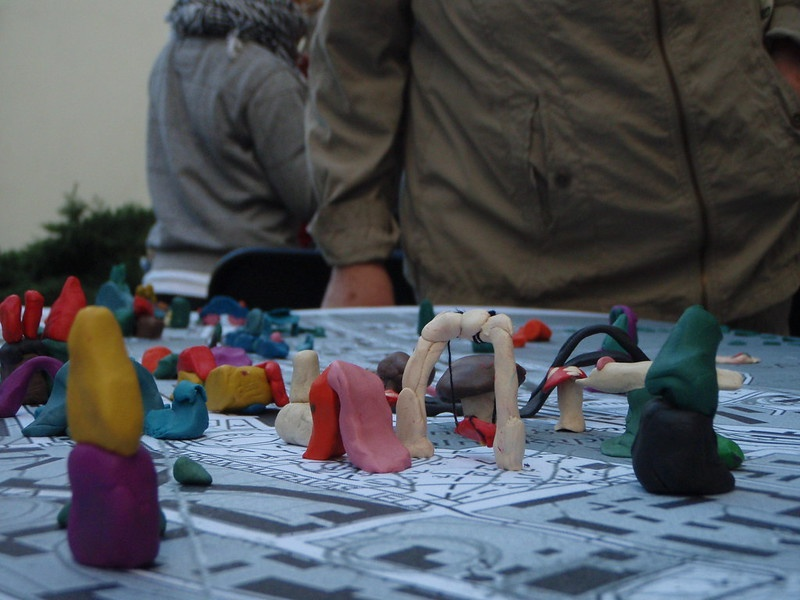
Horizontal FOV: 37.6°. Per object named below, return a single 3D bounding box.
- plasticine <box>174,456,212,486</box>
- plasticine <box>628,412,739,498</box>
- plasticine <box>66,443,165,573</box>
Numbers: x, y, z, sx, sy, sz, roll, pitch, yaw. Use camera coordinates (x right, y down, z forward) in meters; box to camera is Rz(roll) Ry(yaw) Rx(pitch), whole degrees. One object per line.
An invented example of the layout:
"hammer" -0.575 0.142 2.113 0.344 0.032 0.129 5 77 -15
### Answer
"plasticine" -0.403 0.335 2.288 0.076 0.053 0.037 2 1 -10
"plasticine" 0.549 0.291 2.296 0.168 0.149 0.162 5 -5 -40
"plasticine" -0.507 0.363 2.075 0.156 0.213 0.077 1 1 -14
